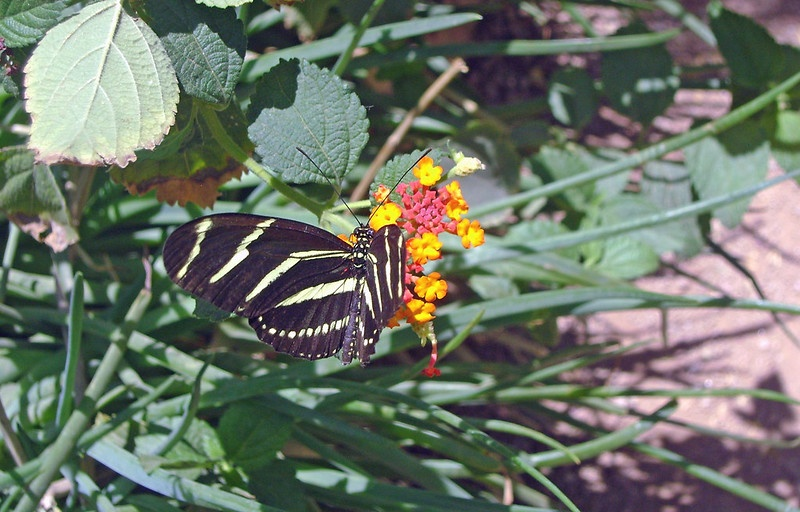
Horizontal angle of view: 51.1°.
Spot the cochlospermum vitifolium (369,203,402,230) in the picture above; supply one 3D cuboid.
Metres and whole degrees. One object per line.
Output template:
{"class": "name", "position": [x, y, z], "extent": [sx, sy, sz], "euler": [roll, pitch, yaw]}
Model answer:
{"class": "cochlospermum vitifolium", "position": [-0.022, -0.081, 1.764], "extent": [0.059, 0.059, 0.017], "euler": [-44, 126, -3]}

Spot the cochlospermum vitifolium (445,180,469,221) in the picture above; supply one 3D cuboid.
{"class": "cochlospermum vitifolium", "position": [0.117, -0.122, 1.763], "extent": [0.072, 0.024, 0.069], "euler": [4, 88, -23]}

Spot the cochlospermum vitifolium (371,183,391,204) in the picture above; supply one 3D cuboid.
{"class": "cochlospermum vitifolium", "position": [-0.040, -0.137, 1.775], "extent": [0.044, 0.018, 0.041], "euler": [-17, 51, 25]}

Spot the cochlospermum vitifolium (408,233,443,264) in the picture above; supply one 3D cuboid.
{"class": "cochlospermum vitifolium", "position": [0.051, -0.017, 1.724], "extent": [0.067, 0.032, 0.057], "euler": [-20, 79, -1]}

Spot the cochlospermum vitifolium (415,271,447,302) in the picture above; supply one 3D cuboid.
{"class": "cochlospermum vitifolium", "position": [0.063, 0.067, 1.753], "extent": [0.065, 0.082, 0.055], "euler": [-26, 80, -1]}

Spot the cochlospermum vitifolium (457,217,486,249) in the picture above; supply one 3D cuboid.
{"class": "cochlospermum vitifolium", "position": [0.149, -0.049, 1.746], "extent": [0.062, 0.030, 0.059], "euler": [30, 80, -24]}

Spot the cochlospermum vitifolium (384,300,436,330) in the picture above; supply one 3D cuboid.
{"class": "cochlospermum vitifolium", "position": [0.025, 0.126, 1.752], "extent": [0.073, 0.030, 0.065], "euler": [-28, 71, -4]}

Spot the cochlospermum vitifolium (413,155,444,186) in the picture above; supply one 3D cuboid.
{"class": "cochlospermum vitifolium", "position": [0.058, -0.177, 1.751], "extent": [0.056, 0.037, 0.058], "euler": [-34, 80, -3]}

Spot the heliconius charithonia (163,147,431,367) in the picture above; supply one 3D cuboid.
{"class": "heliconius charithonia", "position": [-0.265, -0.038, 1.837], "extent": [0.603, 0.293, 0.459], "euler": [-7, 108, -17]}
